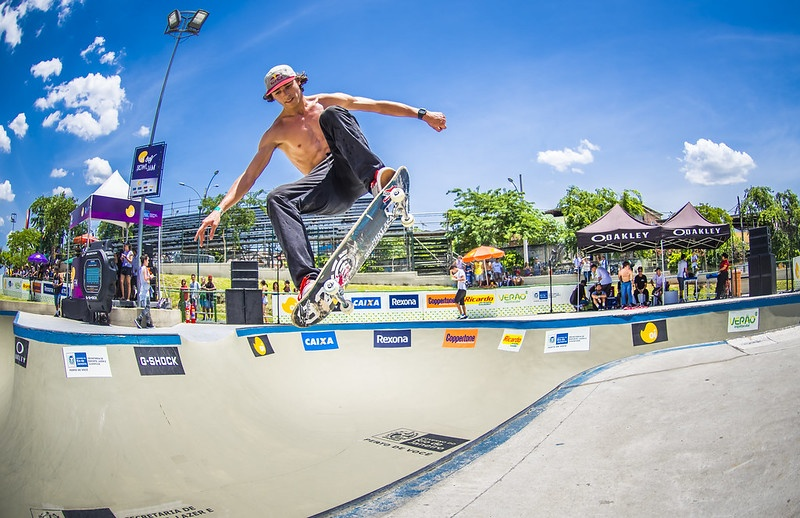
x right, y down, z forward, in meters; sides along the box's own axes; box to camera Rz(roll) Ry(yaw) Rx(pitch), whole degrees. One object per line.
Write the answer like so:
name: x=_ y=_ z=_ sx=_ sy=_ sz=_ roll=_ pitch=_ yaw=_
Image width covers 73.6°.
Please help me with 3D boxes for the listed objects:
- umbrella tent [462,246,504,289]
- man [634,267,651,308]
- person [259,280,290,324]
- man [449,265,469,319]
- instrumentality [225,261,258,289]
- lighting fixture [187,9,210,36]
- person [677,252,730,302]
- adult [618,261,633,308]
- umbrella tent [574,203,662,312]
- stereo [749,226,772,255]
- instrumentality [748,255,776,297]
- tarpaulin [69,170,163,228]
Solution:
umbrella tent: x=3.343 y=0.146 z=21.048 sx=1.063 sy=0.793 sz=1.167 roll=-8 pitch=17 yaw=30
man: x=6.346 y=0.770 z=14.105 sx=0.392 sy=1.071 sz=1.017 roll=3 pitch=14 yaw=24
person: x=-3.321 y=1.160 z=14.254 sx=0.572 sy=0.754 sz=1.007 roll=2 pitch=1 yaw=24
man: x=1.443 y=0.890 z=13.007 sx=0.388 sy=1.375 sz=1.088 roll=-1 pitch=13 yaw=7
instrumentality: x=-3.806 y=0.343 z=13.028 sx=0.653 sy=0.666 sz=0.659 roll=-2 pitch=2 yaw=-11
lighting fixture: x=-5.925 y=-6.943 z=15.784 sx=0.578 sy=0.723 sz=1.116 roll=-10 pitch=14 yaw=-30
person: x=9.947 y=0.600 z=17.673 sx=1.454 sy=1.688 sz=1.637 roll=2 pitch=-7 yaw=-26
adult: x=5.916 y=0.672 z=14.109 sx=0.369 sy=1.211 sz=0.376 roll=-6 pitch=-2 yaw=23
umbrella tent: x=6.612 y=-0.130 z=15.922 sx=2.749 sy=4.047 sz=2.948 roll=-3 pitch=0 yaw=12
stereo: x=9.863 y=-0.503 z=14.685 sx=0.311 sy=0.868 sz=0.785 roll=-5 pitch=13 yaw=-11
instrumentality: x=9.947 y=0.479 z=14.680 sx=0.464 sy=1.268 sz=0.643 roll=2 pitch=-5 yaw=-25
tarpaulin: x=-8.309 y=-1.666 z=15.957 sx=1.456 sy=1.246 sz=1.986 roll=-2 pitch=-6 yaw=42
